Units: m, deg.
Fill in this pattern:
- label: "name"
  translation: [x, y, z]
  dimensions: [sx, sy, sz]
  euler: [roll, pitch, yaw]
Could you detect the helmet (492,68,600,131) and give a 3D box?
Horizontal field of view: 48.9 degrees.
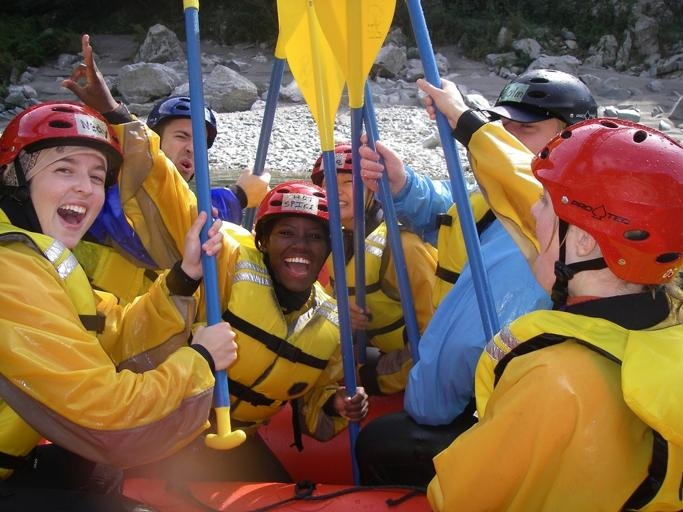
- label: "helmet"
  translation: [0.891, -0.692, 3.356]
  dimensions: [0.433, 0.219, 0.303]
  euler: [9, 5, -16]
